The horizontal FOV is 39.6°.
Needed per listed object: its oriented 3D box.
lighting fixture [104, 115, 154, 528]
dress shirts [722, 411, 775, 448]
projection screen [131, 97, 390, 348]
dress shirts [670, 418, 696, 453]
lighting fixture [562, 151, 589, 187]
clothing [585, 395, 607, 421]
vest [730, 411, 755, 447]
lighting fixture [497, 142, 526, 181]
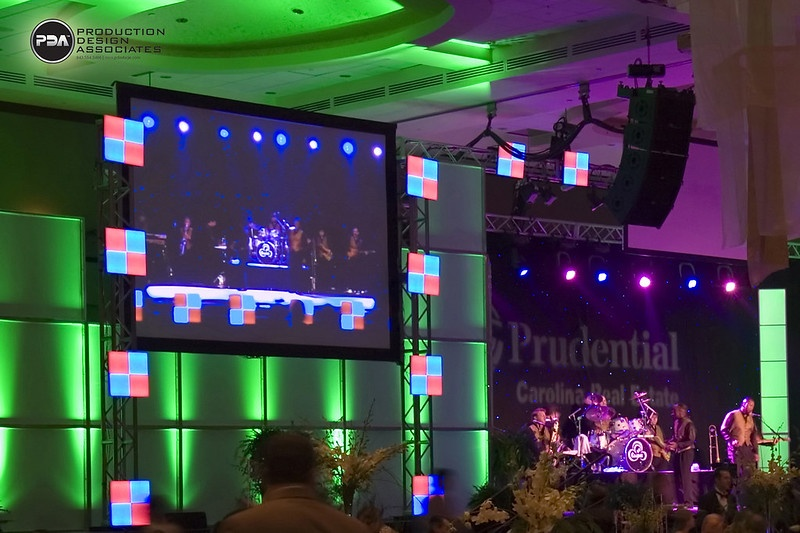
[{"bbox_3d":[-3.655,0.732,14.803,0.591,5.335,1.551,0,-10,-15],"label":"lighting fixture"},{"bbox_3d":[6.347,2.987,20.076,0.993,0.725,0.671,5,-13,-20],"label":"dress shirts"},{"bbox_3d":[-1.840,-0.518,15.867,4.388,3.397,0.127,3,1,-40],"label":"projection screen"},{"bbox_3d":[5.130,2.984,20.045,0.419,0.567,0.640,-4,2,-13],"label":"dress shirts"},{"bbox_3d":[2.927,-1.633,18.563,0.505,0.465,0.435,2,11,-13],"label":"lighting fixture"},{"bbox_3d":[3.654,2.620,20.669,0.425,0.498,0.275,-4,-10,8],"label":"clothing"},{"bbox_3d":[6.145,2.934,19.973,0.560,0.674,0.386,3,-23,1],"label":"vest"},{"bbox_3d":[1.829,-1.759,18.122,0.563,0.555,0.287,7,-14,-44],"label":"lighting fixture"}]
